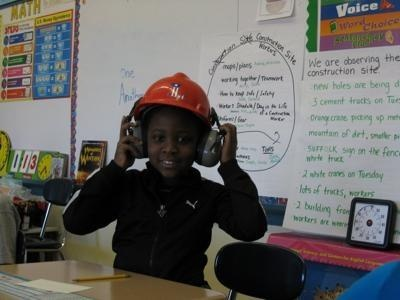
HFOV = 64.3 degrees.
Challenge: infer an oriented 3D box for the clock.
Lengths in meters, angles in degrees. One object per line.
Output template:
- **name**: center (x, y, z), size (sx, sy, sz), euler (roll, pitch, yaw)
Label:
- **clock**: center (0.959, 0.391, 1.807), size (0.232, 0.256, 0.230), euler (9, -1, 35)

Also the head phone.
- **head phone**: center (-0.106, -0.110, 1.363), size (0.411, 0.374, 0.150), euler (5, -20, -6)
